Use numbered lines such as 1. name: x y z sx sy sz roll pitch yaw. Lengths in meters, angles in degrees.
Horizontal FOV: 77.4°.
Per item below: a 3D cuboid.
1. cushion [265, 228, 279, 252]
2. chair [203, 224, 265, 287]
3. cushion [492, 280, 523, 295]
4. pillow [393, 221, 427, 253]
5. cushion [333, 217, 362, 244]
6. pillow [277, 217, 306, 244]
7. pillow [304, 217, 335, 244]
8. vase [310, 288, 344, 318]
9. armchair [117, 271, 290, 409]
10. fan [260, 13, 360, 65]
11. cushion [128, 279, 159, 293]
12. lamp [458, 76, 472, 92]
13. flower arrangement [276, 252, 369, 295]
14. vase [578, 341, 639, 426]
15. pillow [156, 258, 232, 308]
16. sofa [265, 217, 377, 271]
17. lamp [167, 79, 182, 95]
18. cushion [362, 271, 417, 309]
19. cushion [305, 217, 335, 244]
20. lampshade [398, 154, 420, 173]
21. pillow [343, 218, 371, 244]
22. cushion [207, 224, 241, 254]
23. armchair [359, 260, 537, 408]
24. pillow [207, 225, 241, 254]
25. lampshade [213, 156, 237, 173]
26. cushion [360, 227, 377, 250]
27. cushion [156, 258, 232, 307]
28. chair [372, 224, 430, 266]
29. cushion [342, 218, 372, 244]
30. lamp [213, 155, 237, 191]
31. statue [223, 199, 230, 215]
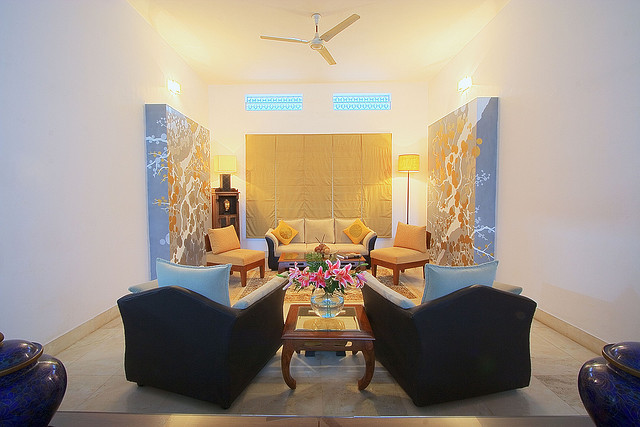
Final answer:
1. cushion: -0.841 0.416 7.138 0.259 0.257 0.512 1 4 -8
2. chair: -1.385 0.647 6.586 0.857 0.885 0.781 4 7 35
3. cushion: 1.768 0.699 3.808 0.197 0.084 0.189 6 -1 -1
4. pillow: 1.542 0.396 6.776 0.214 0.426 0.601 20 -9 -42
5. cushion: 0.403 0.320 7.509 0.433 0.428 0.133 1 -11 18
6. pillow: -0.394 0.297 7.477 0.436 0.457 0.137 9 -19 -2
7. pillow: -0.006 0.316 7.553 0.594 0.517 0.214 0 5 -5
8. vase: 0.090 0.965 4.224 0.372 0.248 0.384 0 -12 -11
9. armchair: -1.165 1.174 4.317 1.519 1.037 1.542 3 5 6
10. fan: -0.027 -2.518 5.529 0.774 0.609 1.265 -4 6 -13
11. cushion: -1.707 0.717 3.905 0.172 0.043 0.165 1 0 23
12. lamp: 2.314 -2.088 6.417 0.096 0.185 0.374 -3 6 -3
13. flower arrangement: 0.070 0.615 4.026 0.764 0.319 0.483 -1 5 -15
14. vase: 1.956 1.157 2.679 0.401 0.546 0.202 -2 7 2
15. pillow: -1.189 0.702 3.802 0.680 0.463 0.211 3 -1 -24
16. sofa: 0.014 0.599 7.342 1.960 0.931 0.799 -1 6 -2
17. lamp: -2.305 -2.025 6.324 0.049 0.179 0.195 3 5 19
18. cushion: 0.837 0.909 4.756 0.128 0.177 0.895 38 -8 -35
19. cushion: 0.003 0.331 7.478 0.421 0.364 0.153 -1 -29 2
20. lampshade: 1.667 -0.951 7.463 0.322 0.241 0.331 1 4 3
21. pillow: 0.646 0.305 7.191 0.381 0.380 0.093 44 -2 26
22. cushion: -1.573 0.429 6.625 0.217 0.408 0.571 -2 5 33
23. armchair: 1.215 1.054 4.189 1.267 1.360 1.415 0 -3 -14
24. pillow: -1.581 0.431 6.642 0.236 0.431 0.623 -2 5 28
25. lampshade: -1.755 -0.934 7.432 0.299 0.328 0.324 1 0 -8
26. cushion: 0.841 0.432 7.030 0.253 0.352 0.279 2 -3 -10
27. cushion: -1.197 0.682 3.788 0.684 0.494 0.213 8 -8 -27
28. chair: 1.313 0.493 6.672 0.921 0.710 0.922 0 4 -20
29. cushion: 0.632 0.309 7.185 0.390 0.387 0.104 45 -1 26
30. lamp: -1.773 -0.759 7.575 0.388 0.658 0.390 1 -3 -8
31. statue: -1.751 -0.131 7.517 0.130 0.283 0.274 -4 7 -13
